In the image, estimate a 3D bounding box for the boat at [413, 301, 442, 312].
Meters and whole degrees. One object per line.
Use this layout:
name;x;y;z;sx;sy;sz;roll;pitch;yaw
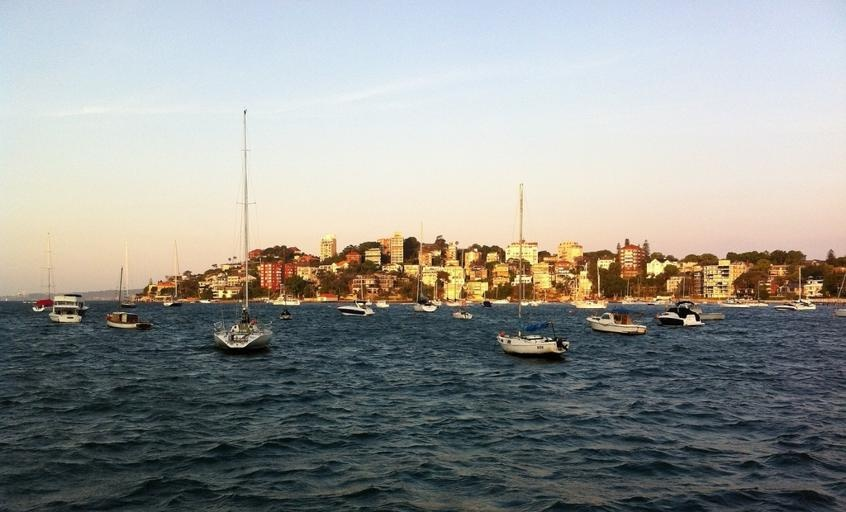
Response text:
boat;1.017;10.847;181.531;4.036;2.694;10.606;1;0;1

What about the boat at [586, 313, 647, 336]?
boat;21.905;7.737;96.125;2.746;1.842;6.728;5;0;-22
